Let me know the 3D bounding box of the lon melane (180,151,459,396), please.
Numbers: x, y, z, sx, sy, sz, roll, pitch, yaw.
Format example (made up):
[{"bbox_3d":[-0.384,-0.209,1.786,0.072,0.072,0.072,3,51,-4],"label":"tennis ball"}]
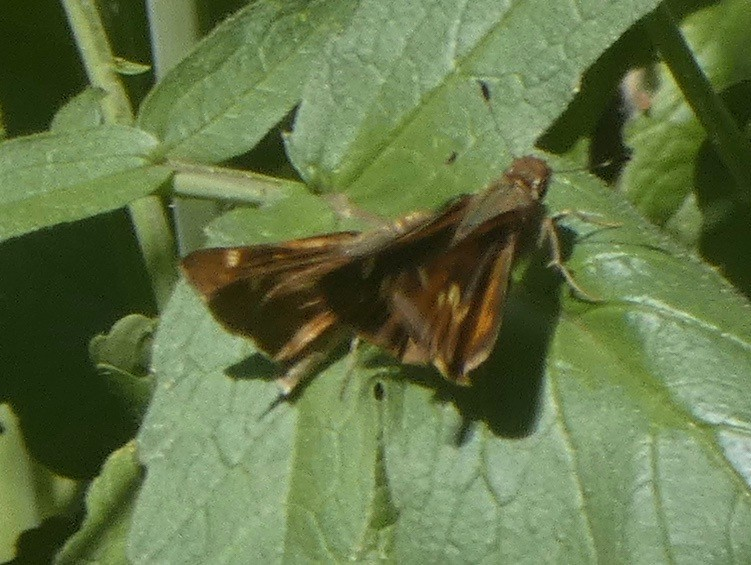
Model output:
[{"bbox_3d":[-0.087,0.000,1.055,0.249,0.138,0.197,-3,75,23],"label":"lon melane"}]
